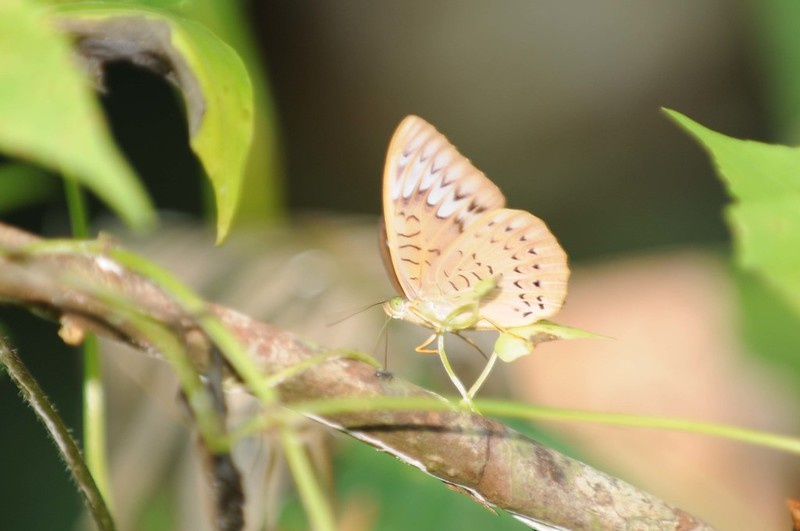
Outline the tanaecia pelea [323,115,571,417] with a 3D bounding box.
[{"bbox_3d":[0.112,-0.048,1.482,0.267,0.237,0.247,-4,53,-8],"label":"tanaecia pelea"}]
